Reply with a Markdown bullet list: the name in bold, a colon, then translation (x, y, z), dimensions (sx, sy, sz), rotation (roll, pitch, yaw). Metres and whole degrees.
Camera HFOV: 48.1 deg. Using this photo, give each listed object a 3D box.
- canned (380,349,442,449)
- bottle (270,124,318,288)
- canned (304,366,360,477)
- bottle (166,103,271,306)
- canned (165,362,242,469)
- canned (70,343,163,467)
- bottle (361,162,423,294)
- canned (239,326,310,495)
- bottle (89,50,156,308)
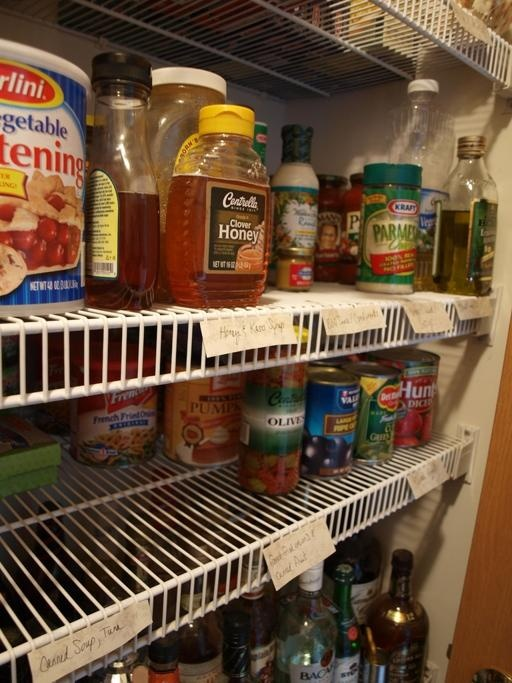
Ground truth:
- **canned**: translation (0.275, 0.103, 1.067), dimensions (0.106, 0.156, 0.107), rotation (10, 8, 42)
- **bottle**: translation (0.059, -0.207, 0.891), dimensions (0.078, 0.253, 0.101), rotation (6, 9, 2)
- **canned**: translation (0.106, 0.129, 0.859), dimensions (0.079, 0.152, 0.058), rotation (5, 9, -3)
- **bottle**: translation (-0.032, -0.140, 0.614), dimensions (0.079, 0.207, 0.122), rotation (13, 12, 39)
- **canned**: translation (-0.078, 0.110, 0.866), dimensions (0.122, 0.126, 0.122), rotation (4, -3, -36)
- **canned**: translation (-0.202, 0.089, 0.813), dimensions (0.134, 0.138, 0.133), rotation (3, 3, 14)
- **bottle**: translation (0.208, -0.176, 0.906), dimensions (0.099, 0.198, 0.068), rotation (7, 10, 11)
- **canned**: translation (0.023, 0.106, 0.779), dimensions (0.086, 0.215, 0.041), rotation (5, 9, -1)
- **bottle**: translation (-0.133, -0.155, 0.579), dimensions (0.074, 0.237, 0.121), rotation (3, 10, -17)
